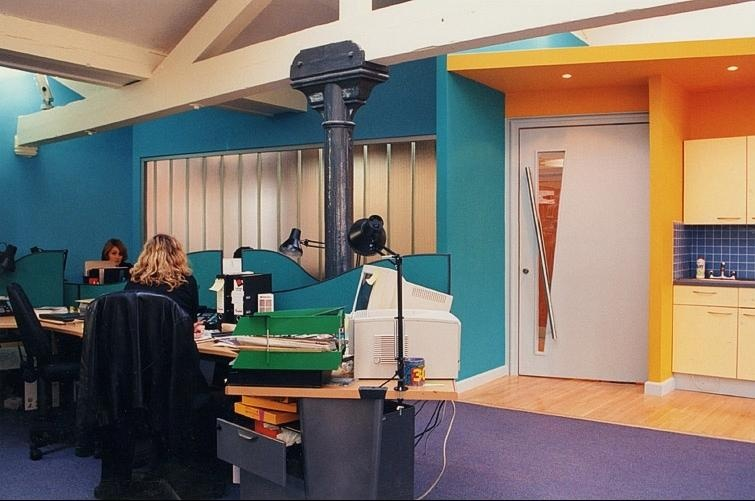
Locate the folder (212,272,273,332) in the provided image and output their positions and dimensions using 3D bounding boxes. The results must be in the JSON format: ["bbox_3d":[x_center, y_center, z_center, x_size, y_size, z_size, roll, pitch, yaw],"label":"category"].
[{"bbox_3d":[-1.185,0.356,5.045,0.411,0.518,0.575,0,1,42],"label":"folder"}]

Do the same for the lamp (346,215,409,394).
[{"bbox_3d":[0.006,0.345,3.953,0.405,1.092,0.357,-1,-9,8],"label":"lamp"}]

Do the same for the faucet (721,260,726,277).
[{"bbox_3d":[3.751,0.209,6.591,0.068,0.155,0.245,5,10,29],"label":"faucet"}]

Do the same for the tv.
[{"bbox_3d":[0.194,0.318,4.358,0.687,0.360,0.653,9,-3,11],"label":"tv"}]

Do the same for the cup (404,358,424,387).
[{"bbox_3d":[0.225,0.745,3.721,0.154,0.153,0.148,0,2,0],"label":"cup"}]

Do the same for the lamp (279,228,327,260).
[{"bbox_3d":[-0.727,-0.061,6.311,0.565,0.234,0.217,14,-20,-35],"label":"lamp"}]

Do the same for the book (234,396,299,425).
[{"bbox_3d":[-0.697,1.016,3.845,0.242,0.077,0.240,2,-2,36],"label":"book"}]
